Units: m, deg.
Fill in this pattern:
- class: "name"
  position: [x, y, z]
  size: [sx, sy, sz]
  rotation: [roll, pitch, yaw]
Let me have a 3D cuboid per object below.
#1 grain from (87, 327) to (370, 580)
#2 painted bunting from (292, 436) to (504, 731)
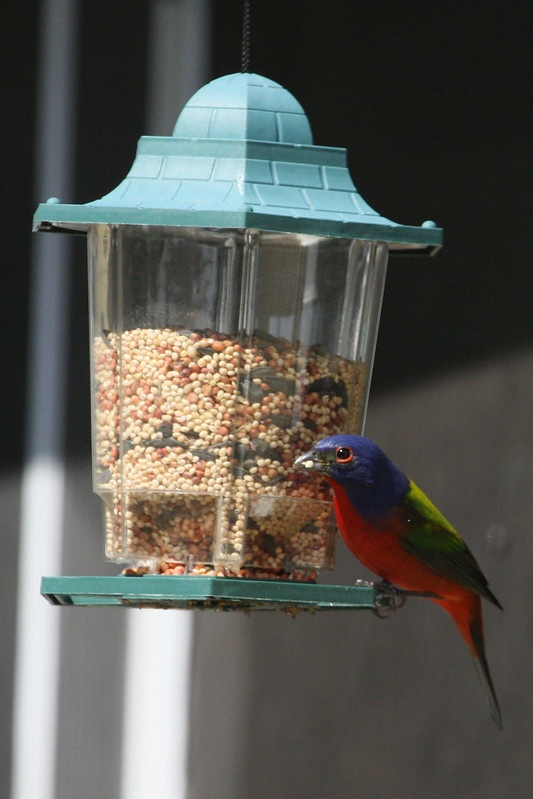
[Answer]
- class: "grain"
  position: [-0.126, 0.148, 3.020]
  size: [0.585, 0.451, 0.661]
  rotation: [9, -14, -34]
- class: "painted bunting"
  position: [0.377, 0.426, 3.200]
  size: [0.908, 0.420, 0.279]
  rotation: [29, -30, -37]
